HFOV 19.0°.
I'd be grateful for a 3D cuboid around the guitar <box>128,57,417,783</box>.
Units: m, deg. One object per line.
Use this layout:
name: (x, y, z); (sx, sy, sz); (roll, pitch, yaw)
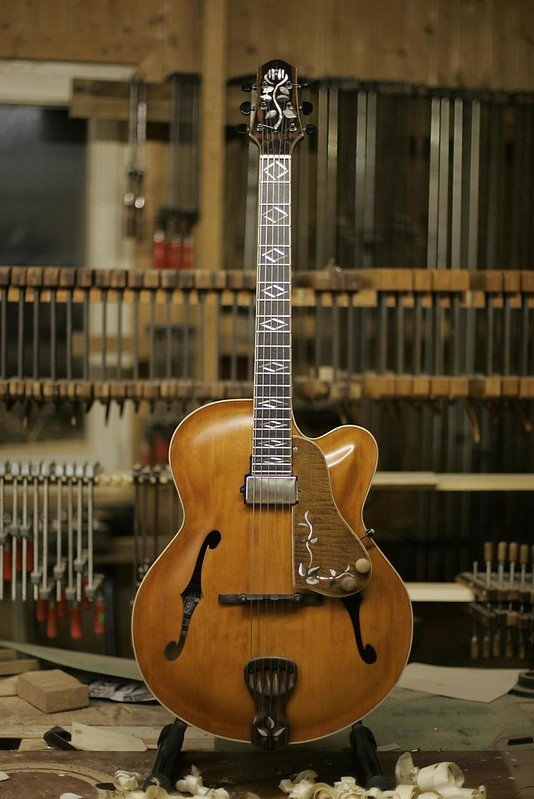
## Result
guitar: (0.011, 0.040, 4.002); (0.689, 2.214, 0.689); (-2, 40, -4)
